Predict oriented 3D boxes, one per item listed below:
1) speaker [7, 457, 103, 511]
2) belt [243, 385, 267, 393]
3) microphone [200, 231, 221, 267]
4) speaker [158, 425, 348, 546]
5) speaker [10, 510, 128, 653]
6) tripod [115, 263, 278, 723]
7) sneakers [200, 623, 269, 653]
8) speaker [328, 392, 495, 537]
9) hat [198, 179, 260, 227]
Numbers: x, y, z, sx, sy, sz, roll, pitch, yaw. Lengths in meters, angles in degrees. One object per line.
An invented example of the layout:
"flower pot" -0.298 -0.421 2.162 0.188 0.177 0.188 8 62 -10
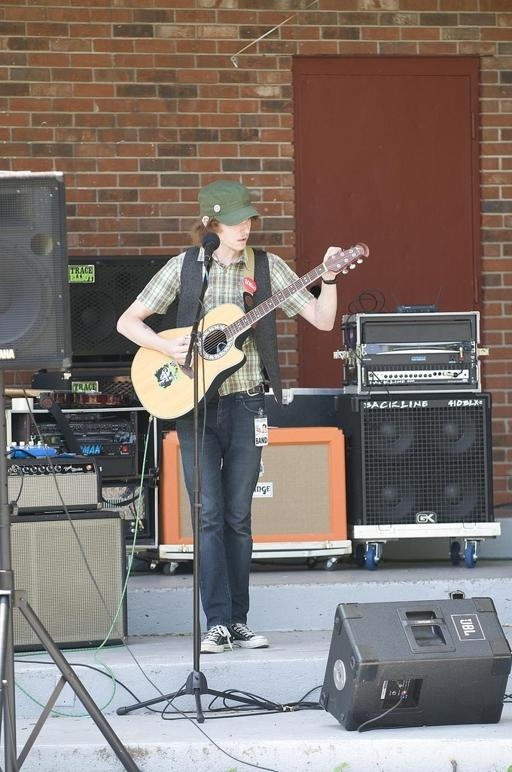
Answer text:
"speaker" -0.707 0.341 5.550 0.290 0.196 0.200 0 -1 -32
"belt" 0.002 0.009 5.515 0.049 0.030 0.048 -3 3 36
"microphone" -0.150 -0.450 5.202 0.039 0.134 0.034 26 -40 -18
"speaker" 0.009 0.375 6.621 0.809 0.598 0.454 -1 -3 -4
"speaker" -0.617 0.628 5.593 0.553 0.559 0.408 0 -3 -4
"tripod" -0.241 0.336 5.238 0.517 1.455 0.774 -4 7 0
"sneakers" -0.088 0.865 5.463 0.265 0.104 0.089 13 -2 -26
"speaker" 0.632 0.295 6.740 0.701 0.675 0.505 -1 -1 1
"hat" -0.090 -0.638 5.447 0.134 0.099 0.186 -18 25 -36
